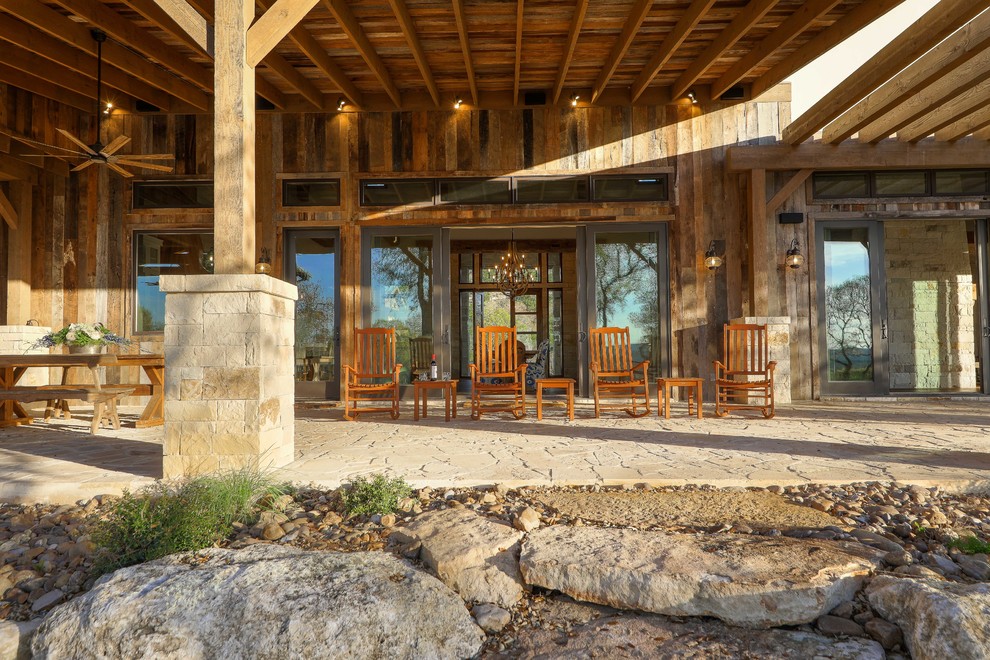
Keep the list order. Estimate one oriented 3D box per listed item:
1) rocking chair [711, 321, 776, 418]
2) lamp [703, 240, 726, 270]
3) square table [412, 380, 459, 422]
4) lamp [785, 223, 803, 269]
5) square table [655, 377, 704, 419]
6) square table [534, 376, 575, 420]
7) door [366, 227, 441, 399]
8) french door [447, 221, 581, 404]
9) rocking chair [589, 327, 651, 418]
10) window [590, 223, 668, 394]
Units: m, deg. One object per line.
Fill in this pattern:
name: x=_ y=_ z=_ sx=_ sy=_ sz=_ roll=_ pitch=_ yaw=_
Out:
rocking chair: x=3.367 y=0.529 z=10.120 sx=0.905 sy=1.381 sz=0.982 roll=-3 pitch=-9 yaw=44
lamp: x=3.347 y=-1.138 z=11.523 sx=0.277 sy=0.457 sz=0.426 roll=4 pitch=10 yaw=34
square table: x=-0.796 y=0.926 z=9.984 sx=0.688 sy=0.522 sz=0.687 roll=0 pitch=-1 yaw=-29
lamp: x=4.569 y=-1.166 z=11.516 sx=0.248 sy=0.515 sz=0.458 roll=2 pitch=9 yaw=23
square table: x=2.445 y=0.869 z=9.956 sx=0.596 sy=0.610 sz=0.618 roll=1 pitch=-7 yaw=2
square table: x=0.776 y=0.866 z=9.753 sx=0.543 sy=0.557 sz=0.562 roll=1 pitch=-4 yaw=2
door: x=-1.388 y=-0.395 z=11.762 sx=1.038 sy=2.781 sz=0.127 roll=0 pitch=-38 yaw=-9
french door: x=0.339 y=-0.443 z=14.447 sx=2.992 sy=3.911 sz=0.196 roll=0 pitch=3 yaw=3
rocking chair: x=1.586 y=0.565 z=9.964 sx=0.804 sy=1.304 sz=1.078 roll=0 pitch=-6 yaw=-22
window: x=2.091 y=-0.528 z=11.942 sx=1.077 sy=0.230 sz=2.637 roll=-12 pitch=-44 yaw=-2
